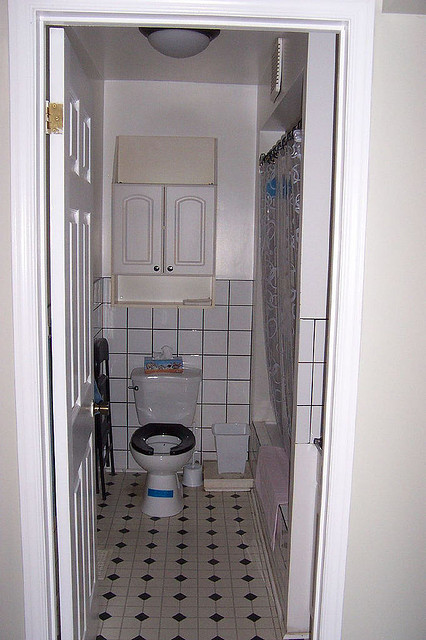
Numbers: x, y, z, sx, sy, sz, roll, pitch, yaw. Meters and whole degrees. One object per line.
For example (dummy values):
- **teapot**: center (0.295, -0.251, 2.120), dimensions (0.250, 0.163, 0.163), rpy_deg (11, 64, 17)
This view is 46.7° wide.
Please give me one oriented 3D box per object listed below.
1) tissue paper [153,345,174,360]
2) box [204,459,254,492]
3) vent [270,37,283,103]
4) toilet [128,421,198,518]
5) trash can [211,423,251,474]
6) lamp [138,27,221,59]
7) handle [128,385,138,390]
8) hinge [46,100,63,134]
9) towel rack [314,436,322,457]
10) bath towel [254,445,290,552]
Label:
- **tissue paper**: center (-0.310, 0.221, 3.197), dimensions (0.121, 0.140, 0.069), rpy_deg (0, -6, -9)
- **box**: center (0.100, 1.014, 3.206), dimensions (0.311, 0.130, 0.227), rpy_deg (2, 6, 3)
- **vent**: center (0.282, -1.175, 2.244), dimensions (0.020, 0.233, 0.213), rpy_deg (4, 32, 18)
- **toilet**: center (-0.274, 0.873, 2.907), dimensions (0.336, 0.447, 0.466), rpy_deg (1, -2, -1)
- **trash can**: center (0.104, 0.809, 3.203), dimensions (0.265, 0.328, 0.253), rpy_deg (0, 1, -2)
- **lamp**: center (-0.128, -1.162, 2.020), dimensions (0.254, 0.082, 0.254), rpy_deg (6, 7, 32)
- **handle**: center (-0.488, 0.416, 3.073), dimensions (0.052, 0.017, 0.034), rpy_deg (3, -1, -39)
- **hinge**: center (-0.341, -0.438, 1.065), dimensions (0.054, 0.067, 0.014), rpy_deg (-3, 10, -41)
- **towel rack**: center (0.356, 0.434, 1.680), dimensions (0.022, 0.063, 0.152), rpy_deg (2, 6, 10)
- **bath towel**: center (0.288, 0.848, 2.352), dimensions (0.163, 0.239, 0.557), rpy_deg (0, 8, -4)
